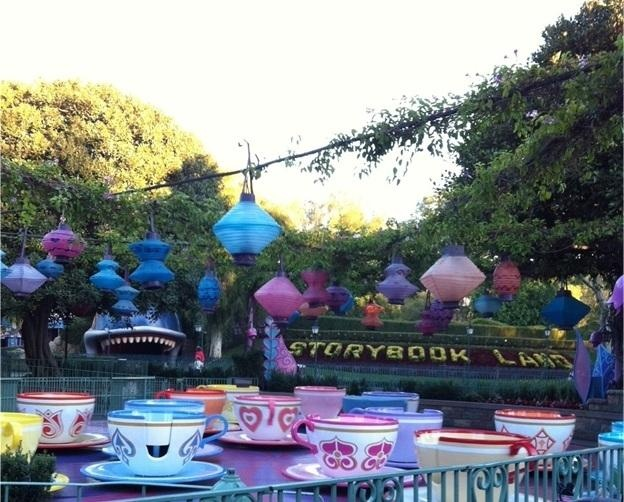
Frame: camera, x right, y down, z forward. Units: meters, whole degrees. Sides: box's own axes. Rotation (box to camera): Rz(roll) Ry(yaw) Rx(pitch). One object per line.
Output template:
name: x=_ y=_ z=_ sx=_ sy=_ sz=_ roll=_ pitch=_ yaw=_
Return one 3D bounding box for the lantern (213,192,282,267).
lantern: x=-0.924 y=-0.283 z=17.236 sx=0.878 sy=1.167 sz=0.975 roll=0 pitch=0 yaw=0

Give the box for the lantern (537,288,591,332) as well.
lantern: x=4.524 y=1.049 z=21.989 sx=0.836 sy=0.832 sz=1.600 roll=-3 pitch=-11 yaw=11
